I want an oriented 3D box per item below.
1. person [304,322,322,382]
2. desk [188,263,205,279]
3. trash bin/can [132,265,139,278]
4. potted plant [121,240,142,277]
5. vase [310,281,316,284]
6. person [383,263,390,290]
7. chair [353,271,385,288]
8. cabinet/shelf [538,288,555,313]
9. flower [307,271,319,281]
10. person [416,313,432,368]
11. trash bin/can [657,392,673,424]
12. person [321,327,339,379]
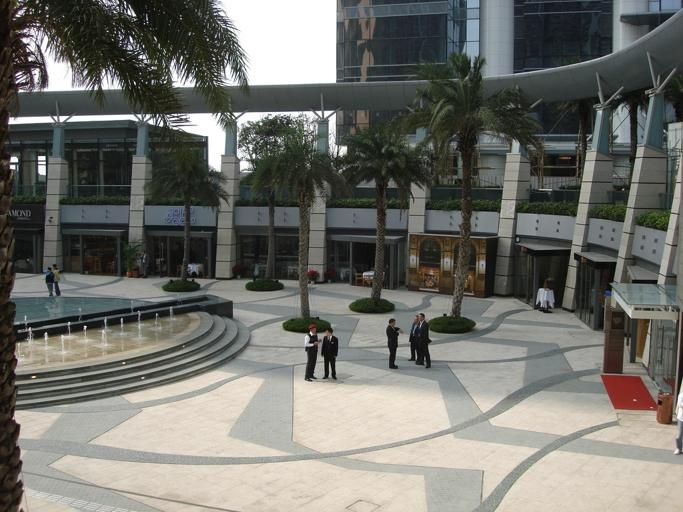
[{"bbox_3d":[-1.022,3.186,20.959,0.411,1.847,1.263,1,7,-3],"label":"person"},{"bbox_3d":[-10.129,1.052,43.164,1.120,0.953,0.914,-1,8,-17],"label":"desk"},{"bbox_3d":[-14.510,1.137,43.200,0.600,0.888,0.658,-2,-2,17],"label":"trash bin/can"},{"bbox_3d":[-14.678,0.240,43.274,1.130,2.338,0.866,2,7,7],"label":"potted plant"},{"bbox_3d":[-1.890,1.807,40.974,0.192,0.157,0.203,0,-3,-37],"label":"vase"},{"bbox_3d":[2.859,1.299,38.903,0.442,1.525,0.285,4,7,20],"label":"person"},{"bbox_3d":[1.398,1.586,39.525,1.280,0.676,1.170,6,11,29],"label":"chair"},{"bbox_3d":[10.378,2.302,31.718,1.062,1.515,1.059,0,3,22],"label":"cabinet/shelf"},{"bbox_3d":[-1.908,1.346,40.825,0.611,0.652,0.601,3,-7,-42],"label":"flower"},{"bbox_3d":[3.026,3.063,22.472,0.537,1.841,1.016,2,7,8],"label":"person"},{"bbox_3d":[8.919,4.200,16.916,0.415,0.821,0.387,4,8,24],"label":"trash bin/can"},{"bbox_3d":[-0.402,3.282,21.115,0.519,1.713,1.172,1,7,-2],"label":"person"}]
